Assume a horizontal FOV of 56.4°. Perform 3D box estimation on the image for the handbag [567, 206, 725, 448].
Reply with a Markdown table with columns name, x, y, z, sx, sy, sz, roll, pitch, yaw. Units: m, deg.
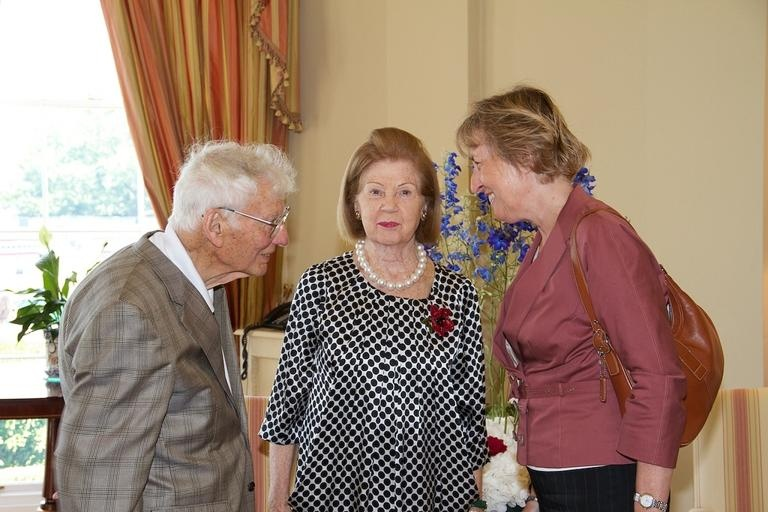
| name | x | y | z | sx | sy | sz | roll | pitch | yaw |
| --- | --- | --- | --- | --- | --- | --- | --- | --- | --- |
| handbag | 0.997 | 0.256 | 2.679 | 0.555 | 0.881 | 0.287 | 0 | 2 | -15 |
